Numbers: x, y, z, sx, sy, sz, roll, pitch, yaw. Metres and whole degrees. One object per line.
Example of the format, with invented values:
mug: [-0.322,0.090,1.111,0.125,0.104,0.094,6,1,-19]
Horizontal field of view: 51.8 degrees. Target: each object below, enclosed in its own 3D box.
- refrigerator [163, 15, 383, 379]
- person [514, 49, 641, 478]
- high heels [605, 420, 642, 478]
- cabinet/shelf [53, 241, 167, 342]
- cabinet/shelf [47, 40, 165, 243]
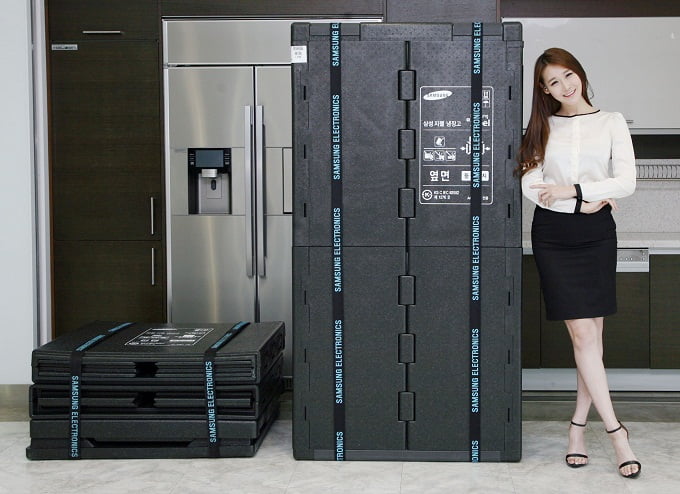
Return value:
refrigerator: [-0.700,-0.315,4.618,0.893,2.340,0.518,-1,15,0]
person: [1.289,0.065,3.709,0.555,2.182,0.743,-6,16,-21]
high heels: [1.484,1.048,3.679,0.119,0.329,0.086,-14,-29,18]
cabinet/shelf: [-1.363,0.253,4.913,1.108,0.815,0.579,1,2,-2]
cabinet/shelf: [-1.535,-0.696,4.593,0.734,1.277,0.283,0,15,2]
